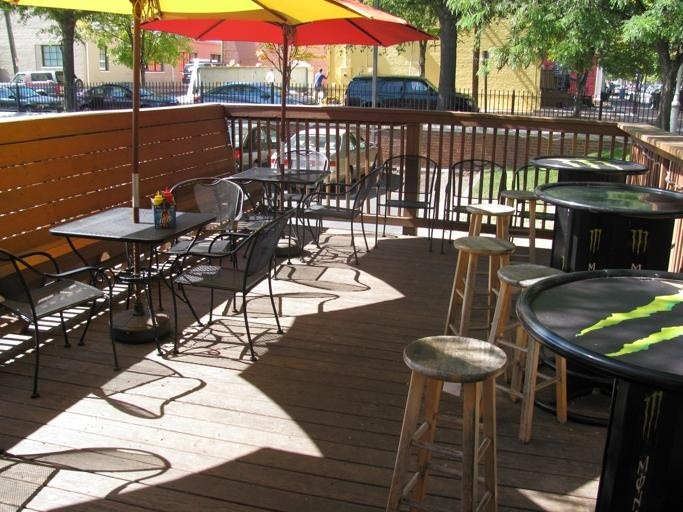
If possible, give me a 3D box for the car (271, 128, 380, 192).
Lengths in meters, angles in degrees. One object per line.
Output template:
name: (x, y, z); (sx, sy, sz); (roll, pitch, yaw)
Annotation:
car: (-0.164, -1.645, 9.205); (1.555, 0.768, 2.955); (5, 21, 18)
